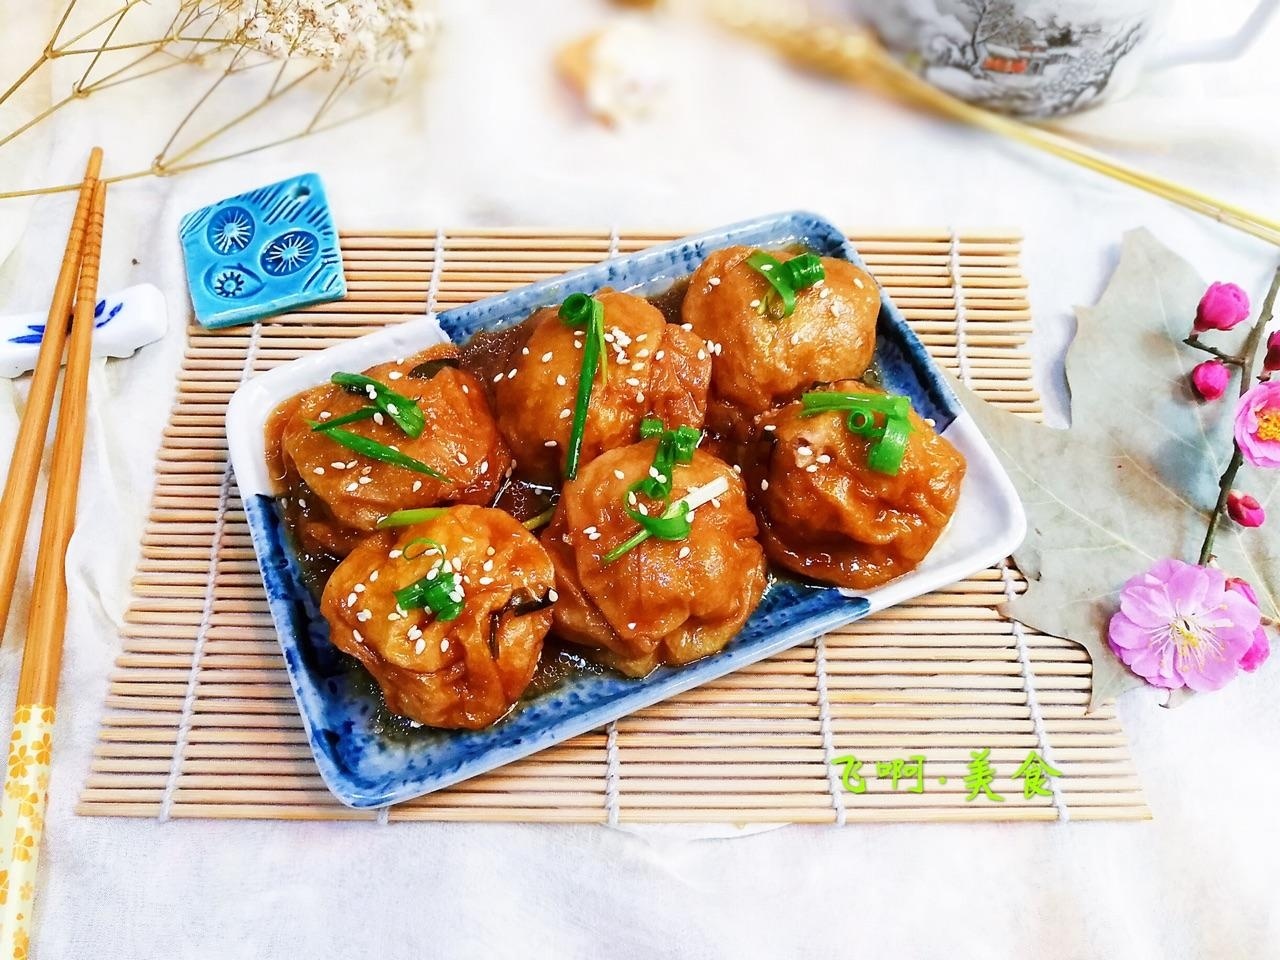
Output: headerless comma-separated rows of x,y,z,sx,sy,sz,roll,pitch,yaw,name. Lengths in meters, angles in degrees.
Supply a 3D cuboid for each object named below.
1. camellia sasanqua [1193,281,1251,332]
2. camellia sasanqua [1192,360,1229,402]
2.217,-0.659,4.735,0.124,0.210,0.146,-16,53,-33,camellia sasanqua
2.116,-0.379,4.699,0.116,0.137,0.158,0,29,12,camellia sasanqua
